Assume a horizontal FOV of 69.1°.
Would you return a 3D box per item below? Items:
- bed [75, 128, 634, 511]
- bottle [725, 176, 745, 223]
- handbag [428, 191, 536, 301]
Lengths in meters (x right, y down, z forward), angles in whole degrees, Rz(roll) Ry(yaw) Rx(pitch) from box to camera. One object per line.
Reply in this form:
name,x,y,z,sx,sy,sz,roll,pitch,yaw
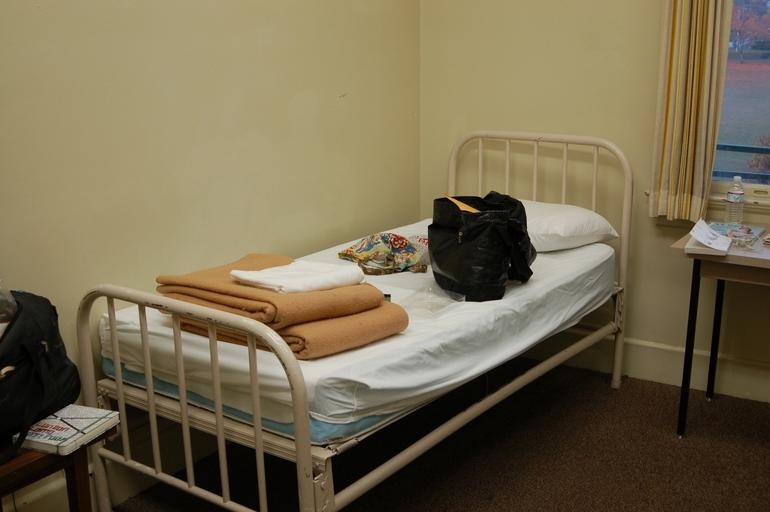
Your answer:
bed,0.040,0.164,2.526,1.082,1.202,2.017,10,17,35
bottle,1.752,-0.277,2.799,0.078,0.230,0.122,9,21,29
handbag,0.447,-0.022,2.621,0.529,0.396,0.502,5,10,19
